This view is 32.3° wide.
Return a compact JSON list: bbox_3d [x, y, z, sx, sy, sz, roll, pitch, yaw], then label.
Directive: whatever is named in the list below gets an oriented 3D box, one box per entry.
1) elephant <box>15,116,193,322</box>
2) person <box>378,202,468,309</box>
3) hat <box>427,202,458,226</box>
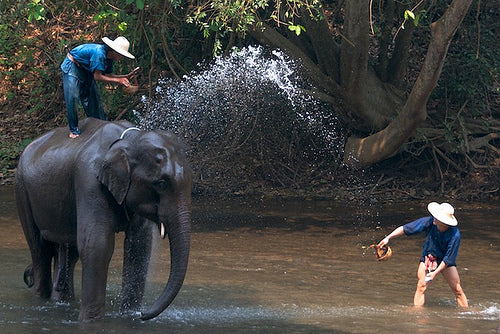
[{"bbox_3d":[-2.266,0.852,12.805,3.744,2.805,1.426,1,-2,41],"label":"elephant"},{"bbox_3d":[2.794,1.475,13.908,1.440,1.636,0.962,-3,-15,40],"label":"person"},{"bbox_3d":[2.889,0.692,12.841,0.375,0.105,0.373,40,35,2],"label":"hat"}]
